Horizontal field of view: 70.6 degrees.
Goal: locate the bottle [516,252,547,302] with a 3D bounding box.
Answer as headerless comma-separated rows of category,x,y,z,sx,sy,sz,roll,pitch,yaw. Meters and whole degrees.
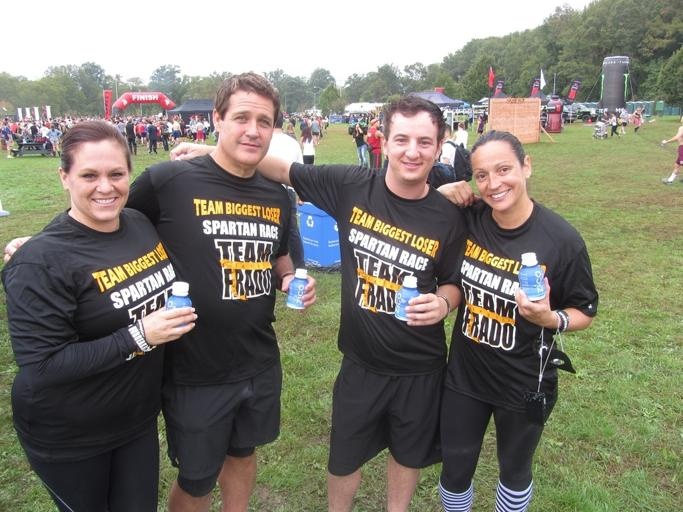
bottle,1.203,0.124,3.004,0.175,0.286,0.155,8,19,23

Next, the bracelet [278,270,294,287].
bracelet,-0.409,0.159,3.565,0.040,0.114,0.096,16,8,14

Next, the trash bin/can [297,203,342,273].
trash bin/can,-0.358,-0.376,8.640,0.940,1.196,0.882,0,9,-24

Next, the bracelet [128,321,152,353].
bracelet,-1.152,0.458,2.766,0.088,0.133,0.119,-28,37,-6

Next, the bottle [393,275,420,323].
bottle,0.446,0.282,3.248,0.153,0.354,0.266,3,18,7
